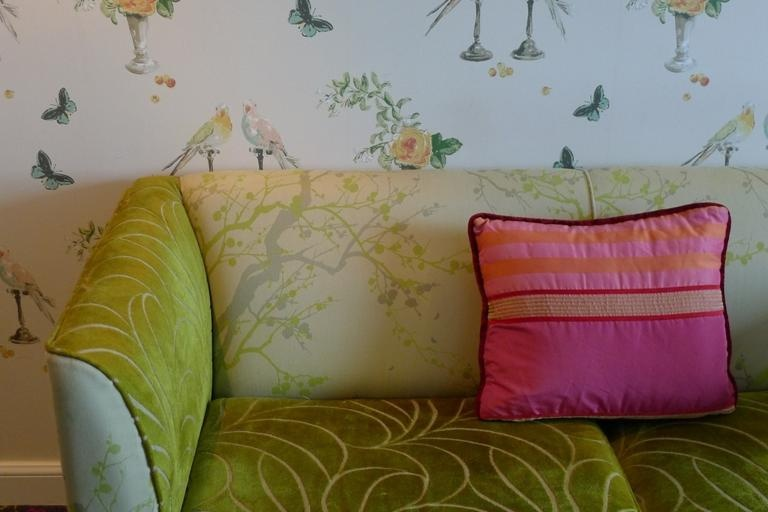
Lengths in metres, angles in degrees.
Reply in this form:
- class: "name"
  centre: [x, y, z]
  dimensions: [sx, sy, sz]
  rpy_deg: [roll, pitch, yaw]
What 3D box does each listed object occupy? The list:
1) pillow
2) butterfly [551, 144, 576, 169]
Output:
- class: "pillow"
  centre: [0.592, 0.177, 1.767]
  dimensions: [0.631, 0.500, 0.219]
  rpy_deg: [-1, 6, 4]
- class: "butterfly"
  centre: [0.592, -0.323, 2.085]
  dimensions: [0.071, 0.077, 0.098]
  rpy_deg: [-3, 7, 8]
